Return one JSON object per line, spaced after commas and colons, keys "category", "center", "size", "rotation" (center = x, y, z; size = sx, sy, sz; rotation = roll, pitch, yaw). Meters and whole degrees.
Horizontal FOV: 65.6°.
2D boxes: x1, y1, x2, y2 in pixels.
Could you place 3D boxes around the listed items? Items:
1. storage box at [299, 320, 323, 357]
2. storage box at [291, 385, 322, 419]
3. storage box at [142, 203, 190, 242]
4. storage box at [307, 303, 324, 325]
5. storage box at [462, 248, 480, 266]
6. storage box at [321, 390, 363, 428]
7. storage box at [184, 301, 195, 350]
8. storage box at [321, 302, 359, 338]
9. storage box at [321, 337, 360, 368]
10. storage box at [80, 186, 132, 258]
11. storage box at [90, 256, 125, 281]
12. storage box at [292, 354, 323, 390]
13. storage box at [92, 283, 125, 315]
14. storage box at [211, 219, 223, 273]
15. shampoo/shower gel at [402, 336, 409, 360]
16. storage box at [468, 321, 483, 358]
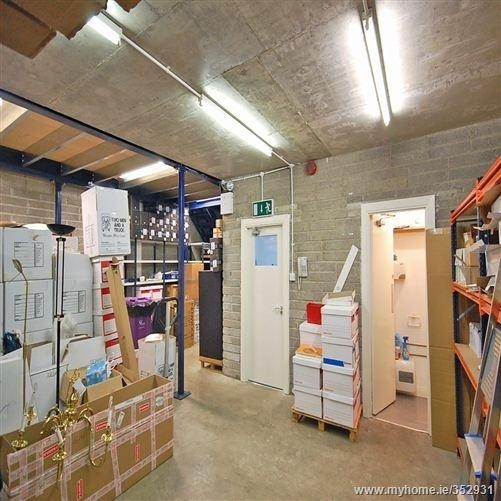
{"category": "storage box", "center": [0.570, 0.844, 3.750], "size": [0.278, 0.301, 0.213], "rotation": [-3, -6, 37]}
{"category": "storage box", "center": [0.515, 1.392, 3.555], "size": [0.221, 0.181, 0.230], "rotation": [-2, -8, 36]}
{"category": "storage box", "center": [-1.492, -0.442, 6.356], "size": [0.255, 0.640, 1.203], "rotation": [1, 5, 12]}
{"category": "storage box", "center": [0.643, 0.603, 3.836], "size": [0.206, 0.225, 0.154], "rotation": [2, 2, 45]}
{"category": "storage box", "center": [1.575, 0.050, 2.773], "size": [0.101, 0.207, 0.105], "rotation": [-5, -9, 38]}
{"category": "storage box", "center": [0.822, 1.381, 3.456], "size": [0.264, 0.180, 0.276], "rotation": [-2, -6, 30]}
{"category": "storage box", "center": [-1.011, 1.183, 6.364], "size": [0.110, 0.762, 0.360], "rotation": [1, 5, 12]}
{"category": "storage box", "center": [0.799, 0.623, 3.534], "size": [0.295, 0.294, 0.243], "rotation": [3, 6, 31]}
{"category": "storage box", "center": [0.802, 0.893, 3.486], "size": [0.248, 0.168, 0.253], "rotation": [-4, -8, 44]}
{"category": "storage box", "center": [-1.274, -0.250, 3.431], "size": [0.385, 0.619, 0.292], "rotation": [-2, 5, -24]}
{"category": "storage box", "center": [-1.284, 0.166, 3.507], "size": [0.180, 0.286, 0.280], "rotation": [-5, -8, 27]}
{"category": "storage box", "center": [0.525, 1.118, 3.571], "size": [0.246, 0.240, 0.260], "rotation": [-2, -7, 27]}
{"category": "storage box", "center": [-1.246, 0.385, 3.547], "size": [0.195, 0.395, 0.389], "rotation": [-1, -3, 14]}
{"category": "storage box", "center": [-0.449, -0.068, 5.129], "size": [0.150, 0.673, 0.285], "rotation": [-2, 5, -18]}
{"category": "shampoo/shower gel", "center": [1.800, 1.141, 4.530], "size": [0.078, 0.235, 0.174], "rotation": [2, 5, 22]}
{"category": "storage box", "center": [1.658, 0.666, 2.862], "size": [0.090, 0.267, 0.266], "rotation": [-1, 1, 24]}
